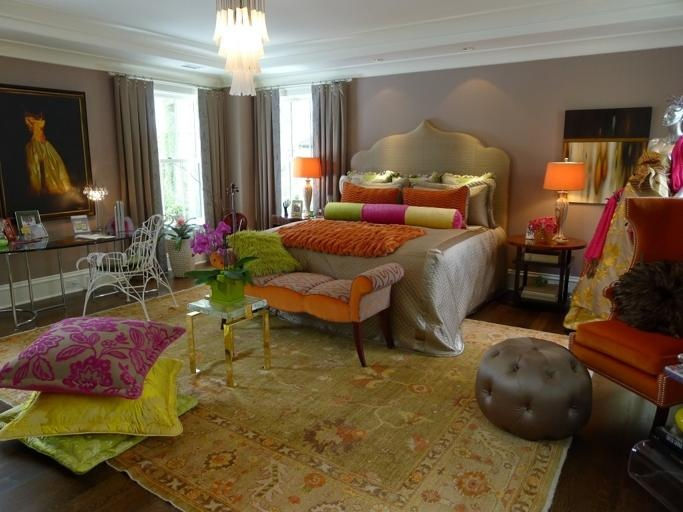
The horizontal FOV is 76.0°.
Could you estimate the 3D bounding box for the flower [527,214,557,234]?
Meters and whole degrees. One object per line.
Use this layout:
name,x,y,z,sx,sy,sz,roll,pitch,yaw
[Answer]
flower,2.147,-0.323,4.665,0.226,0.144,0.192,6,8,39

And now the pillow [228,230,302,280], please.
pillow,-0.670,-0.015,3.996,0.535,0.154,0.460,6,22,-17

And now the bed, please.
bed,0.705,-0.374,5.017,2.407,1.981,2.687,6,12,35

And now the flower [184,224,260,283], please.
flower,-0.904,-0.029,3.267,0.490,0.456,0.475,11,18,29

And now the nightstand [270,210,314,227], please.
nightstand,-0.745,-0.491,6.118,0.377,0.338,0.293,10,17,34

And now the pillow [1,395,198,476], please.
pillow,-1.435,0.888,2.361,0.466,0.119,0.482,9,10,21

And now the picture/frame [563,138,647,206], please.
picture/frame,2.708,-0.869,4.457,0.978,0.659,0.039,8,15,39

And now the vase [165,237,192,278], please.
vase,-2.261,0.021,5.949,0.383,0.494,0.448,2,13,44

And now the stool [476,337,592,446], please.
stool,1.118,0.783,2.644,0.615,0.347,0.573,-3,22,-1

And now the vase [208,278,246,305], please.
vase,-0.833,0.268,3.296,0.216,0.193,0.219,8,12,36

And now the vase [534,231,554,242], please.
vase,2.119,-0.213,4.595,0.132,0.090,0.133,8,13,36

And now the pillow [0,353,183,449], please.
pillow,-1.336,0.837,2.469,0.580,0.141,0.544,1,10,-15
